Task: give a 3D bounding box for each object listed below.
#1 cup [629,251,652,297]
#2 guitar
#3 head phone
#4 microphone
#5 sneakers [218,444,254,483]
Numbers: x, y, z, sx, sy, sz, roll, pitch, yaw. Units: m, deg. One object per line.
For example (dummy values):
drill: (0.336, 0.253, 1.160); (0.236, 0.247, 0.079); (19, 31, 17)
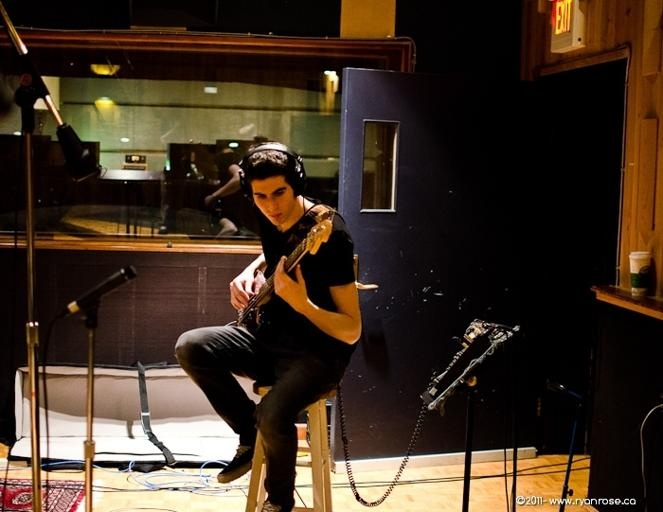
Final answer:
cup: (1.598, 0.089, 3.492); (0.105, 0.224, 0.159); (1, 1, 26)
guitar: (-0.214, 0.059, 2.958); (0.504, 0.506, 0.347); (1, 1, 13)
head phone: (-0.256, -0.391, 3.030); (0.223, 0.205, 0.242); (-11, 26, 3)
microphone: (-1.026, 0.149, 3.045); (0.302, 0.215, 0.261); (1, 1, -9)
sneakers: (-0.424, 0.965, 3.172); (0.085, 0.124, 0.267); (-3, 1, 28)
